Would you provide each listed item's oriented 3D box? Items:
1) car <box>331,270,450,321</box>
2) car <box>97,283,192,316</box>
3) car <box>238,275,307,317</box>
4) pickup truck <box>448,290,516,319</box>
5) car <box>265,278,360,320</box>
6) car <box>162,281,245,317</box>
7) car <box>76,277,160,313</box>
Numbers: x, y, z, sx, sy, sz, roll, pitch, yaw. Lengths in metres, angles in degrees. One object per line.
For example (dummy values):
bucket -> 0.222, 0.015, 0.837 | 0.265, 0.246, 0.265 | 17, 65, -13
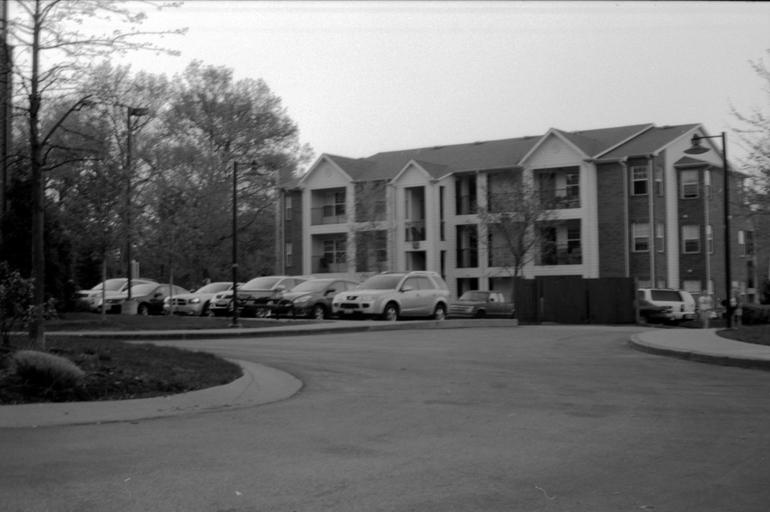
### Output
car -> 0.398, 1.648, 34.341 | 4.708, 2.125, 2.255 | 3, -7, -41
car -> -12.124, 2.102, 41.098 | 6.060, 2.081, 2.651 | 1, -3, -28
car -> -6.226, 1.864, 37.896 | 1.865, 1.575, 4.364 | -2, -3, 38
pickup truck -> 5.167, 2.520, 42.482 | 1.574, 1.065, 3.290 | -6, -9, 39
car -> -3.110, 1.826, 34.437 | 1.682, 1.513, 4.268 | -1, -2, 40
car -> -8.931, 2.163, 40.029 | 1.637, 1.489, 4.011 | -1, -3, 34
car -> -14.818, 1.811, 42.675 | 2.019, 1.524, 3.494 | -4, -7, 35
